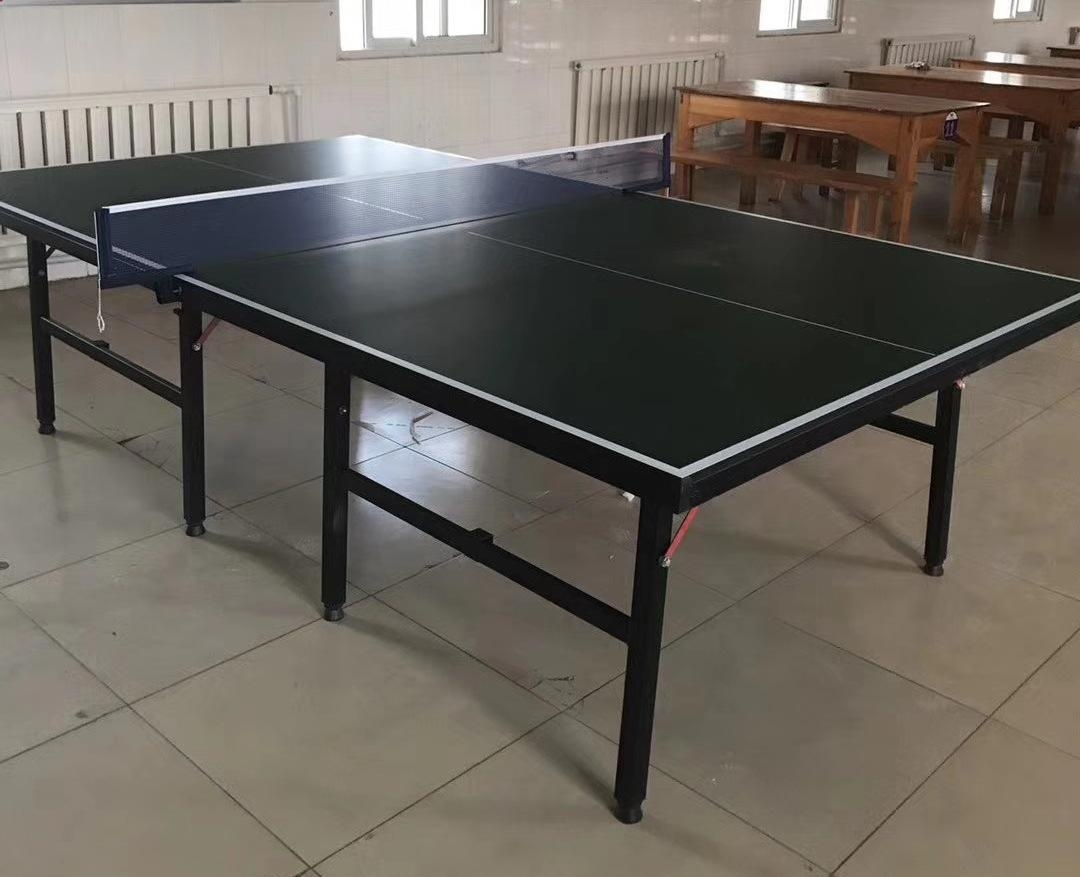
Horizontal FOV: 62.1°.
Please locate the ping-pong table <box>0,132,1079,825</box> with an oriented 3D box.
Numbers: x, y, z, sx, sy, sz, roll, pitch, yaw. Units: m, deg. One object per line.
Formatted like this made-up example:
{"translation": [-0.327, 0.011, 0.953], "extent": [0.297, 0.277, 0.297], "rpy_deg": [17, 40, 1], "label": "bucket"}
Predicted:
{"translation": [-0.324, -0.224, 2.819], "extent": [3.224, 1.107, 1.759], "rpy_deg": [19, 29, 37], "label": "ping-pong table"}
